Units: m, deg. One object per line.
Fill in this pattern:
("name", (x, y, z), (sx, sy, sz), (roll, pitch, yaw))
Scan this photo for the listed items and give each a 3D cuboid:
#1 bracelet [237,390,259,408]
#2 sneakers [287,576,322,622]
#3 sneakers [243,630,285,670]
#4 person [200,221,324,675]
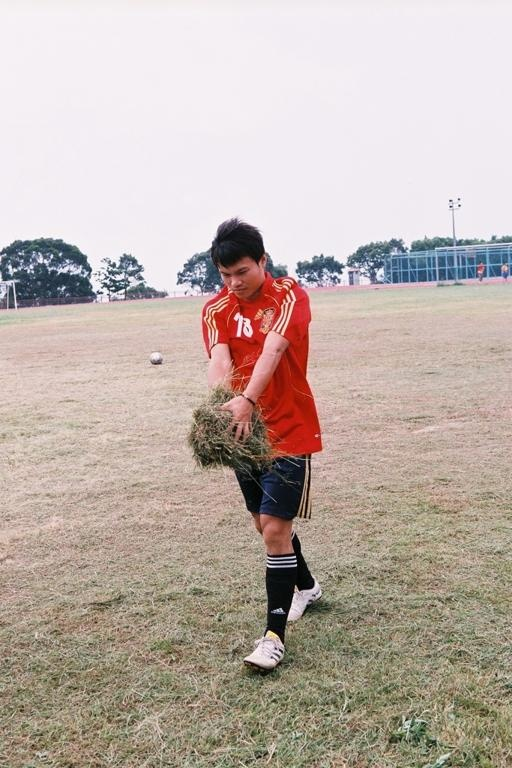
("bracelet", (-0.027, 0.056, 2.270), (0.023, 0.056, 0.048), (-50, 17, -14))
("sneakers", (0.201, 0.997, 2.872), (0.083, 0.092, 0.232), (-16, 14, 42))
("sneakers", (0.035, 1.005, 2.295), (0.096, 0.126, 0.167), (-1, 6, 22))
("person", (0.029, 0.230, 2.469), (0.469, 1.726, 0.648), (-3, 6, 1))
